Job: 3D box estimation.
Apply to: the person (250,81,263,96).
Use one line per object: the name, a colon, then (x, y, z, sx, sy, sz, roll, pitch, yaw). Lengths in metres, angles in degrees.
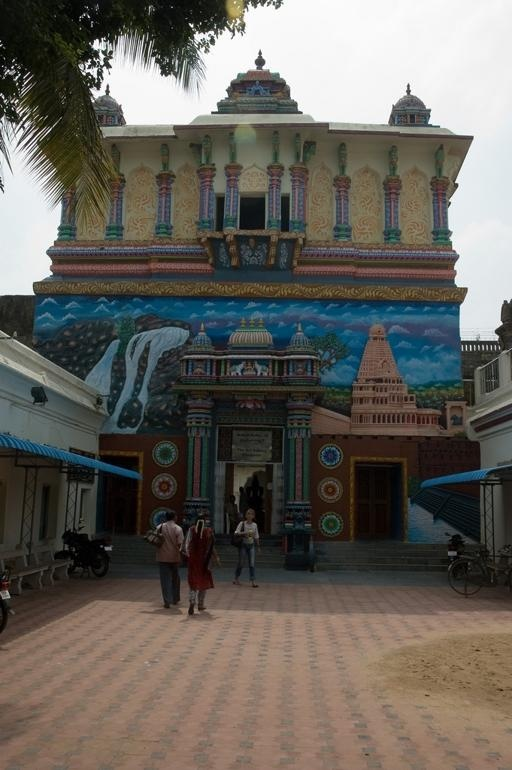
person: (0.080, -11.808, 23.985, 0.713, 0.753, 0.458, 0, -42, 0)

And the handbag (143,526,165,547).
handbag: (-1.741, 2.593, 10.243, 0.280, 0.366, 0.483, 1, -9, -11)

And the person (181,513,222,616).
person: (-0.923, 2.911, 9.751, 0.506, 1.513, 0.900, 1, -9, -7)
